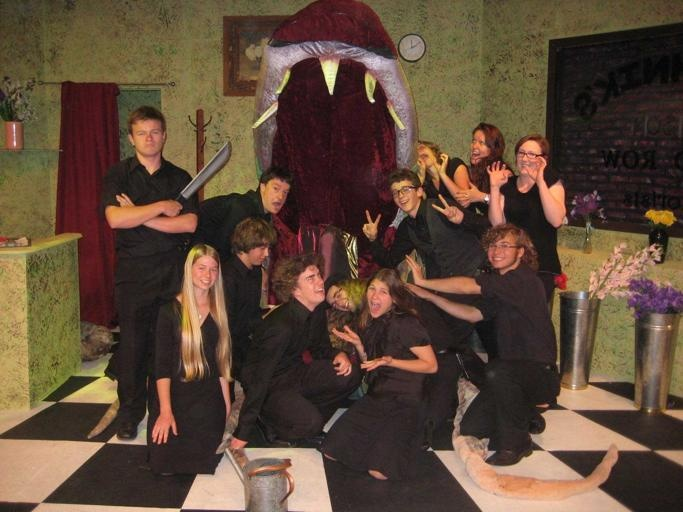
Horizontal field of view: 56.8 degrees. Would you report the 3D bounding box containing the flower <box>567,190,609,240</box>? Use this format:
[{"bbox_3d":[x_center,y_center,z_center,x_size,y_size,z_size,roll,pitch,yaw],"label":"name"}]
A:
[{"bbox_3d":[1.868,-0.303,4.808,0.242,0.319,0.231,-7,7,12],"label":"flower"}]

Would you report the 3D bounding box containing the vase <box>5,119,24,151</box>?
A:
[{"bbox_3d":[-2.720,-1.002,5.253,0.129,0.232,0.186,-2,8,-27],"label":"vase"}]

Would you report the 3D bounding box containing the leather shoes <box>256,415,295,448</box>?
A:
[{"bbox_3d":[-0.403,1.003,3.608,0.293,0.145,0.103,7,9,37],"label":"leather shoes"}]

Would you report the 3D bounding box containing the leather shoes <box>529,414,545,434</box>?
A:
[{"bbox_3d":[1.157,0.994,3.734,0.097,0.119,0.047,13,-21,8],"label":"leather shoes"}]

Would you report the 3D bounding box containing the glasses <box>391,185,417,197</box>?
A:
[{"bbox_3d":[0.364,-0.369,3.619,0.151,0.072,0.071,2,7,-2],"label":"glasses"}]

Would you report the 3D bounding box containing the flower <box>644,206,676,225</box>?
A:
[{"bbox_3d":[2.193,-0.259,4.339,0.159,0.114,0.167,7,8,37],"label":"flower"}]

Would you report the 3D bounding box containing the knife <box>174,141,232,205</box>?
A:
[{"bbox_3d":[-0.808,-0.490,3.766,0.354,0.356,0.201,7,9,34],"label":"knife"}]

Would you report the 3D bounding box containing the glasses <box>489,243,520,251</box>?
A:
[{"bbox_3d":[0.944,-0.053,3.652,0.158,0.032,0.024,2,7,1],"label":"glasses"}]
